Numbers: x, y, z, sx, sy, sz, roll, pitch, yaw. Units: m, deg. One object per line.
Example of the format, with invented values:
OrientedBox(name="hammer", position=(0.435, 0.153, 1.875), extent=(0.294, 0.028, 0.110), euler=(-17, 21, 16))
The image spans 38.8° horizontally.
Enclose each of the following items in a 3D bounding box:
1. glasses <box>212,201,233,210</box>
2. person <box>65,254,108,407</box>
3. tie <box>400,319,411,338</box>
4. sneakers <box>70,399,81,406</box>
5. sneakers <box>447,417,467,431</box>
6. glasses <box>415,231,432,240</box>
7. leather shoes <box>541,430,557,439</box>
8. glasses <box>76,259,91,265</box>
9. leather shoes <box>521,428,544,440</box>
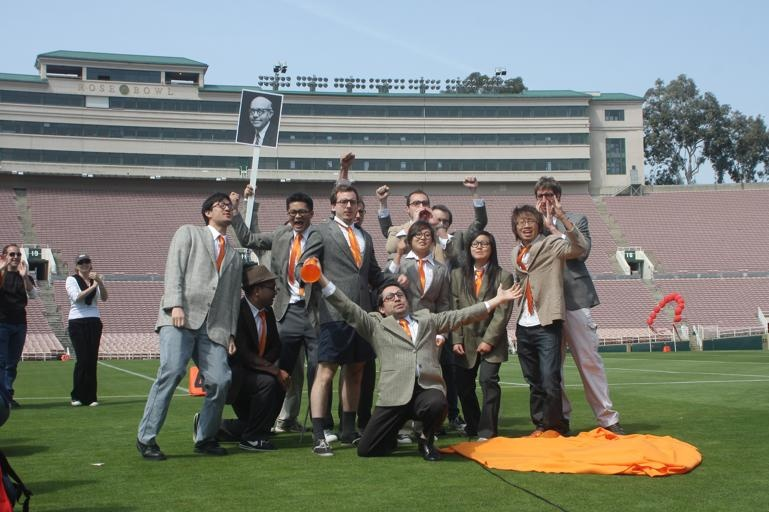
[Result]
OrientedBox(name="glasses", position=(-3.825, -1.191, 25.817), extent=(0.251, 0.067, 0.234), euler=(9, -24, -19))
OrientedBox(name="person", position=(-8.046, 2.046, 29.295), extent=(1.016, 3.982, 1.399), euler=(-3, 10, -7))
OrientedBox(name="tie", position=(0.490, 1.699, 25.668), extent=(0.240, 0.379, 0.097), euler=(-12, -13, -30))
OrientedBox(name="sneakers", position=(-8.282, 3.930, 29.154), extent=(0.138, 0.102, 0.250), euler=(5, -16, -36))
OrientedBox(name="sneakers", position=(1.785, 4.186, 26.993), extent=(0.205, 0.204, 0.519), euler=(3, -16, -24))
OrientedBox(name="glasses", position=(0.962, -0.494, 26.288), extent=(0.259, 0.074, 0.245), euler=(1, -16, -2))
OrientedBox(name="leather shoes", position=(3.954, 4.232, 26.071), extent=(0.428, 0.123, 0.234), euler=(0, 9, 7))
OrientedBox(name="glasses", position=(-8.166, 0.160, 29.487), extent=(0.197, 0.088, 0.259), euler=(-2, -15, -26))
OrientedBox(name="leather shoes", position=(3.642, 4.294, 26.205), extent=(0.160, 0.162, 0.462), euler=(-12, -24, 28))
